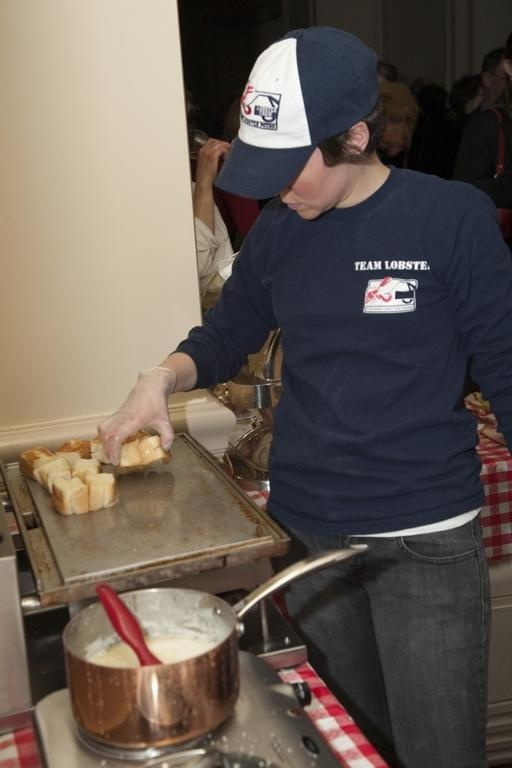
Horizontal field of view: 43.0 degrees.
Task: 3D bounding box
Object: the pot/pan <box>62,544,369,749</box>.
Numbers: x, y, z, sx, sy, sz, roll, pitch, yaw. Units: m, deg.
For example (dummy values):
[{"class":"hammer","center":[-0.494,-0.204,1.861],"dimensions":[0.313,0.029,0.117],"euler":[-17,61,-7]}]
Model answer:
[{"class":"pot/pan","center":[-0.012,0.172,0.521],"dimensions":[0.249,0.104,0.123],"euler":[-3,6,-33]}]
